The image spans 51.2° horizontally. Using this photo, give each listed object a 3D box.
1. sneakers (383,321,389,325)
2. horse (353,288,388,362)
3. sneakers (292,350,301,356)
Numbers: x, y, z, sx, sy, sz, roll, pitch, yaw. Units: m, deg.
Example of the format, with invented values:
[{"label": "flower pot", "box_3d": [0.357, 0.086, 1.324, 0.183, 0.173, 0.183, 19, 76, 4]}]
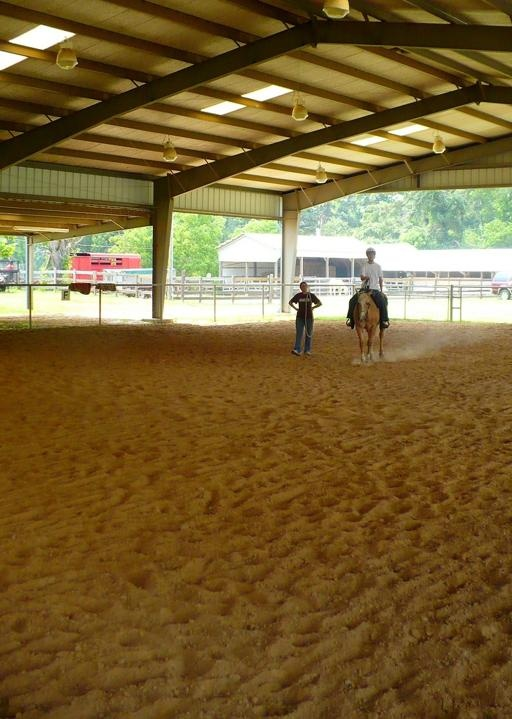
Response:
[{"label": "sneakers", "box_3d": [3.029, -0.800, 12.475, 0.085, 0.125, 0.126, -2, 2, 1]}, {"label": "horse", "box_3d": [2.598, -0.756, 12.421, 0.596, 1.640, 2.461, -1, 5, 18]}, {"label": "sneakers", "box_3d": [0.962, -0.125, 12.911, 0.096, 0.111, 0.279, -3, -18, 19]}]
